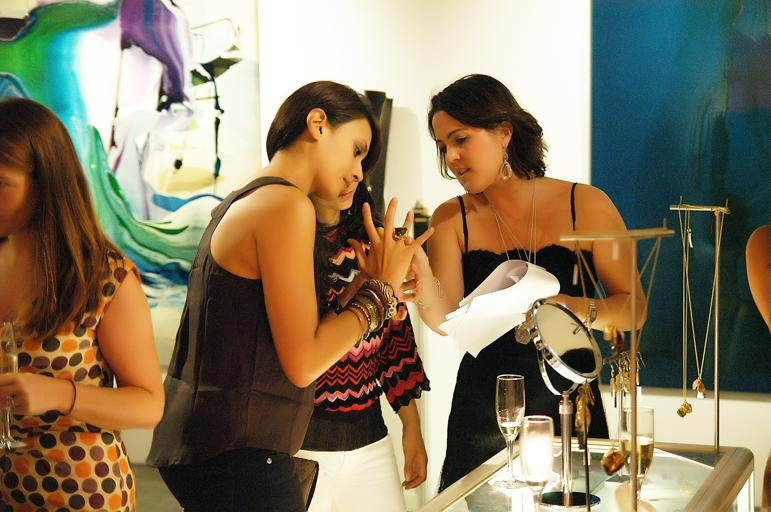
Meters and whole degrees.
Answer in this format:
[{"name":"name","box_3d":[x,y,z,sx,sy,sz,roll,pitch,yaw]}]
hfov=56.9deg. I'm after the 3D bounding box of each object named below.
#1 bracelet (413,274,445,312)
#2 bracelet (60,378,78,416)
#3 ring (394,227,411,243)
[{"name":"bracelet","box_3d":[0.176,0.149,2.905,0.099,0.114,0.130,-10,10,5]},{"name":"bracelet","box_3d":[-0.902,0.412,2.037,0.022,0.079,0.071,5,-3,-23]},{"name":"ring","box_3d":[0.050,-0.067,2.277,0.047,0.040,0.027,9,8,18]}]
